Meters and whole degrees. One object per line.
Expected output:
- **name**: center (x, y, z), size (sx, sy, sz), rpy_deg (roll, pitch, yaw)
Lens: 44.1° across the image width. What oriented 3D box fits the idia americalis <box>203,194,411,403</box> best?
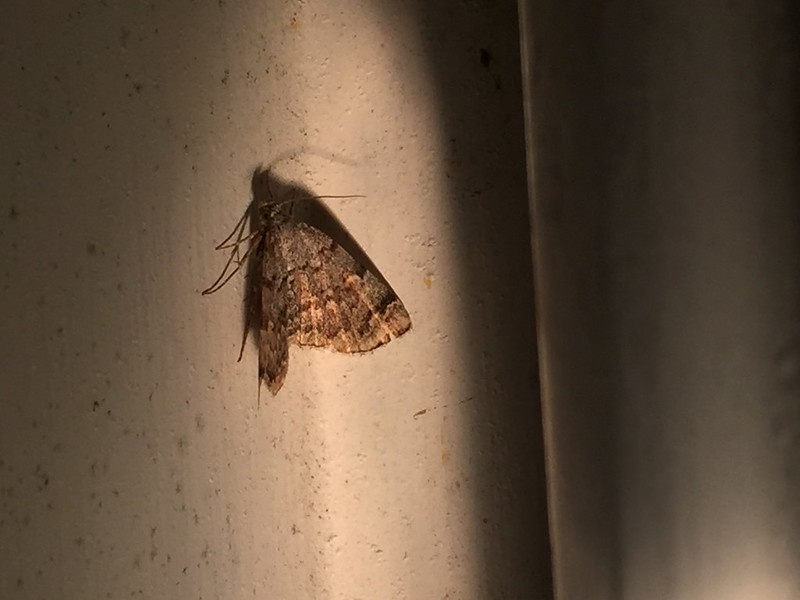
- **idia americalis**: center (-0.201, 0.012, 2.084), size (0.437, 0.299, 0.211), rpy_deg (12, -43, -20)
